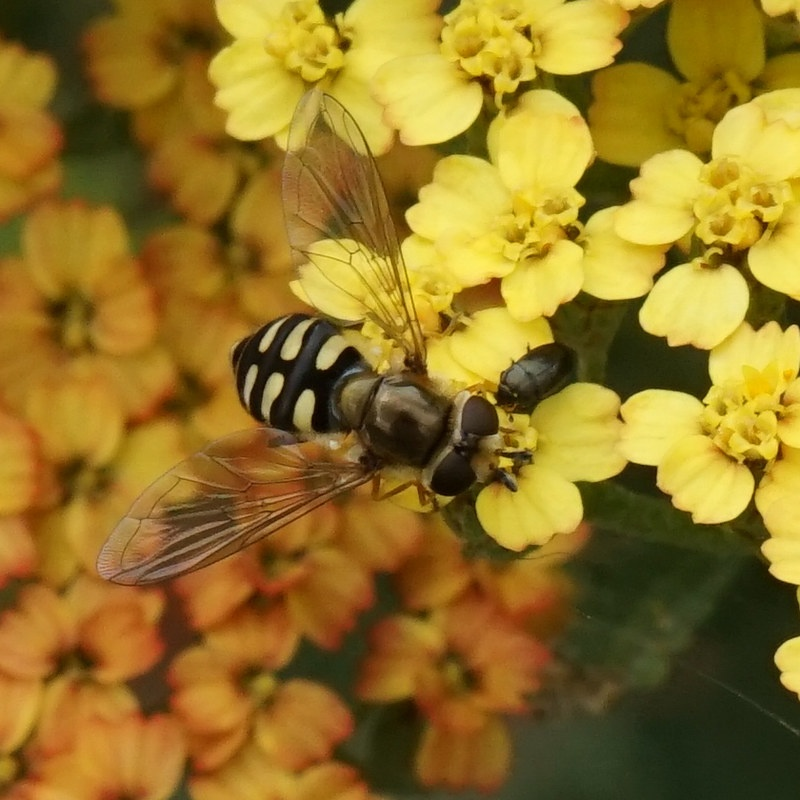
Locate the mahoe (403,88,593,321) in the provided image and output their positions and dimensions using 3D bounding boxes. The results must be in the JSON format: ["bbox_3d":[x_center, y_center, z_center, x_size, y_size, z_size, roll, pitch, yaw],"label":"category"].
[{"bbox_3d":[0.090,-0.135,0.858,0.178,0.141,0.164,7,36,12],"label":"mahoe"}]

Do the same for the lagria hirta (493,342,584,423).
[{"bbox_3d":[0.083,-0.008,0.813,0.071,0.084,0.024,-20,73,1],"label":"lagria hirta"}]

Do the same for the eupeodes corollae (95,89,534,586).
[{"bbox_3d":[-0.057,-0.041,0.855,0.232,0.226,0.332,-25,48,-2],"label":"eupeodes corollae"}]
